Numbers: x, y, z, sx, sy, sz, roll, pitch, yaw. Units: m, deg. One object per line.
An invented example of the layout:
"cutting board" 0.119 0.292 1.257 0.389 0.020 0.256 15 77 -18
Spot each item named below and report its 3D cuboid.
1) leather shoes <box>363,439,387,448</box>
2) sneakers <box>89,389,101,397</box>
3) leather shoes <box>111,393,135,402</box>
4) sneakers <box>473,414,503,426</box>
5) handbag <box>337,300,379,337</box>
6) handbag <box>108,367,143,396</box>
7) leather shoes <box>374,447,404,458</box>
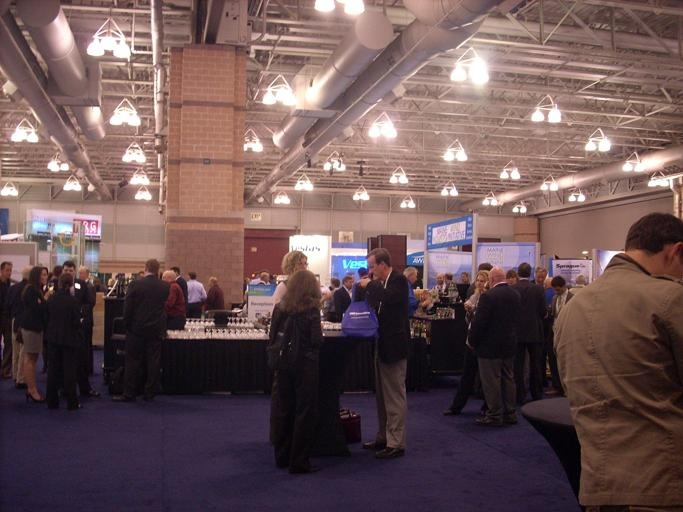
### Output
"leather shoes" 0.343 1.915 6.915 0.224 0.112 0.090 2 -8 11
"sneakers" -3.295 1.846 9.124 0.070 0.093 0.204 2 2 7
"leather shoes" -2.807 1.826 8.739 0.244 0.122 0.095 4 -5 11
"sneakers" 1.699 1.890 7.823 0.294 0.152 0.127 5 -5 3
"handbag" 0.171 0.600 6.524 0.296 0.323 0.314 2 -15 0
"handbag" -3.025 1.706 9.122 0.371 0.431 0.120 -2 0 -5
"leather shoes" 0.471 1.910 6.645 0.268 0.132 0.108 5 -6 -15
